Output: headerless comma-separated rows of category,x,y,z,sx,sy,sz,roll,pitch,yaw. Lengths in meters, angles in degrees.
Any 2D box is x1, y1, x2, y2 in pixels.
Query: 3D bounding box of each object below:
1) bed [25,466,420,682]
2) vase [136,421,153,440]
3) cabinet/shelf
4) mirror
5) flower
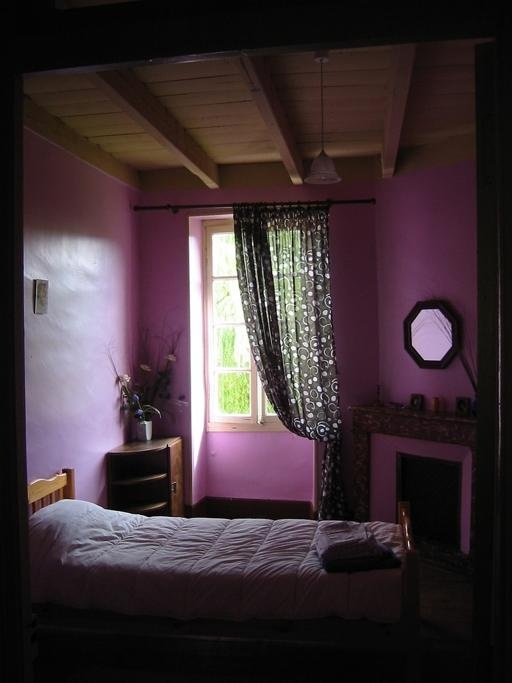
bed,-0.134,1.019,2.512,1.324,0.769,0.982,-1,1,-1
vase,-0.822,0.650,4.258,0.102,0.186,0.122,-3,-5,-2
cabinet/shelf,-0.776,1.060,4.177,0.355,0.678,0.576,-10,-6,32
mirror,1.177,-0.057,3.803,0.025,0.464,0.354,1,-4,-34
flower,-0.787,0.297,4.426,0.393,0.945,0.607,-2,-21,7
